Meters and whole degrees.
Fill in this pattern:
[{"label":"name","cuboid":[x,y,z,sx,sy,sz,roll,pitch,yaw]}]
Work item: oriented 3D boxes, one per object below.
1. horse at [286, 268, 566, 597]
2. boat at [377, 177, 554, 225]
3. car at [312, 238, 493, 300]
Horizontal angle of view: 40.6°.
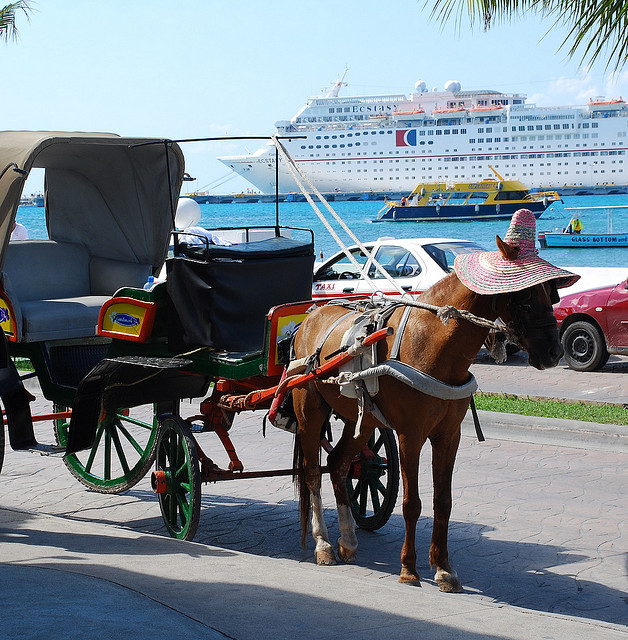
[{"label":"horse","cuboid":[0.533,0.629,5.224,0.861,1.888,2.583,9,-11,-28]},{"label":"boat","cuboid":[13.171,-10.351,72.677,13.625,3.723,8.813,-6,11,-43]},{"label":"car","cuboid":[1.217,-0.957,14.782,2.974,0.876,1.362,3,5,36]}]
